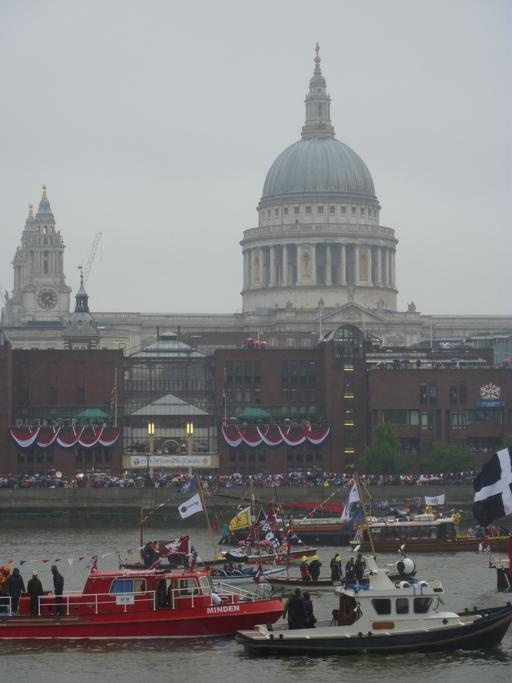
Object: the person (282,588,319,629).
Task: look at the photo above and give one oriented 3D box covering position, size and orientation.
[{"bbox_3d":[1.489,9.424,73.554,0.993,1.412,0.909,-2,2,1],"label":"person"}]
